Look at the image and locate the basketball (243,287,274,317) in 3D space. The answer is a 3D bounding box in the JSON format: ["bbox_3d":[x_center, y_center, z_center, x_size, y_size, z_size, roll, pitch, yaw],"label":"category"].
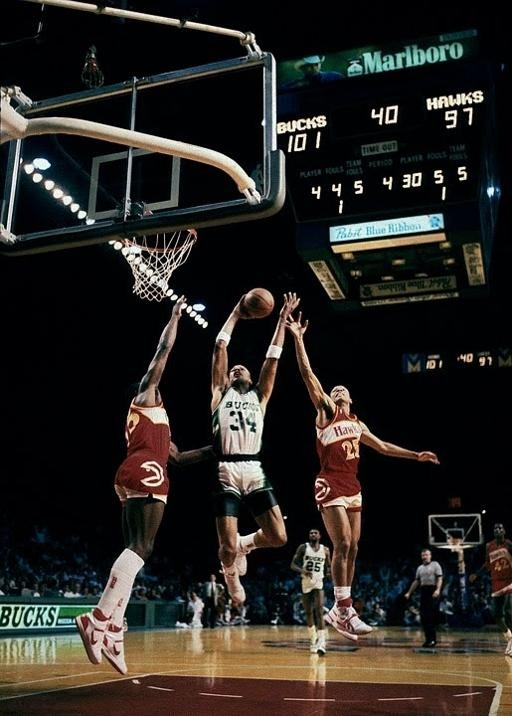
[{"bbox_3d":[0.007,-0.406,5.962,0.232,0.267,0.222,0,-37,-8],"label":"basketball"}]

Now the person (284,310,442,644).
[{"bbox_3d":[0.690,1.027,6.621,0.911,2.783,1.186,4,-3,15],"label":"person"}]

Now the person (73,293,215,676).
[{"bbox_3d":[-0.847,0.912,5.129,0.488,2.862,1.481,5,-3,-6],"label":"person"}]

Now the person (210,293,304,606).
[{"bbox_3d":[-0.049,0.698,5.915,0.692,2.541,0.896,5,-3,-4],"label":"person"}]
